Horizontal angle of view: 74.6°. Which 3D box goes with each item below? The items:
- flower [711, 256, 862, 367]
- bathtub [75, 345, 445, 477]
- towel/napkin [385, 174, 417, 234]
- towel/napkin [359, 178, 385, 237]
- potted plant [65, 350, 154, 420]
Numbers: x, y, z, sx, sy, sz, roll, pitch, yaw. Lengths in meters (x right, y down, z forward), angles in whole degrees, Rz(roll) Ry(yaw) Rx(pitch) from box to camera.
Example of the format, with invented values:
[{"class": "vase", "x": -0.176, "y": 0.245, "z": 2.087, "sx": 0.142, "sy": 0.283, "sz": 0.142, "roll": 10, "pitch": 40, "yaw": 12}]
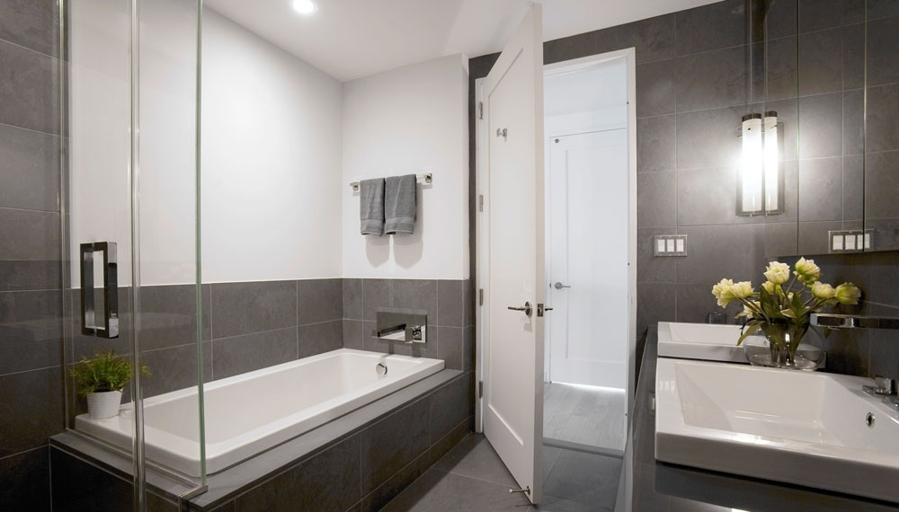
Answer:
[{"class": "flower", "x": 1.756, "y": 0.264, "z": 3.032, "sx": 0.589, "sy": 0.554, "sz": 0.574, "roll": 1, "pitch": -2, "yaw": -30}, {"class": "bathtub", "x": -1.140, "y": 0.886, "z": 3.772, "sx": 0.967, "sy": 0.582, "sz": 2.373, "roll": 0, "pitch": 4, "yaw": 38}, {"class": "towel/napkin", "x": -0.371, "y": -0.395, "z": 4.591, "sx": 0.341, "sy": 0.410, "sz": 0.123, "roll": -3, "pitch": -7, "yaw": 20}, {"class": "towel/napkin", "x": -0.612, "y": -0.395, "z": 4.676, "sx": 0.280, "sy": 0.401, "sz": 0.109, "roll": -2, "pitch": 0, "yaw": 27}, {"class": "potted plant", "x": -1.631, "y": 0.575, "z": 2.831, "sx": 0.325, "sy": 0.324, "sz": 0.277, "roll": 0, "pitch": -1, "yaw": 43}]
